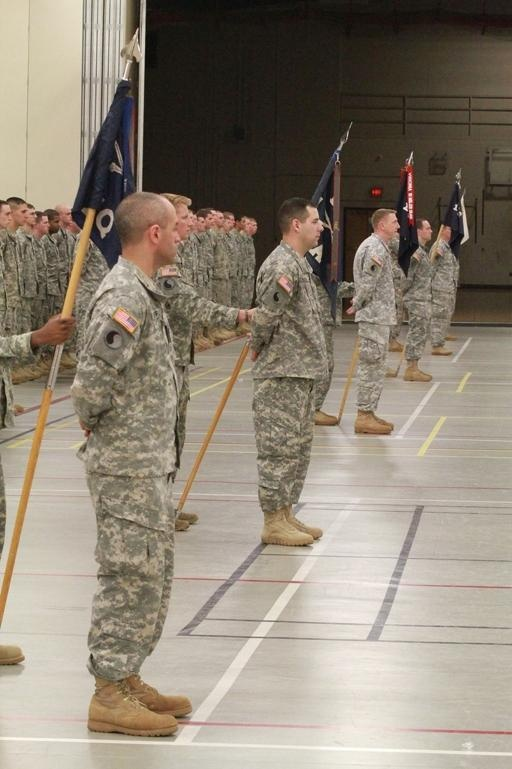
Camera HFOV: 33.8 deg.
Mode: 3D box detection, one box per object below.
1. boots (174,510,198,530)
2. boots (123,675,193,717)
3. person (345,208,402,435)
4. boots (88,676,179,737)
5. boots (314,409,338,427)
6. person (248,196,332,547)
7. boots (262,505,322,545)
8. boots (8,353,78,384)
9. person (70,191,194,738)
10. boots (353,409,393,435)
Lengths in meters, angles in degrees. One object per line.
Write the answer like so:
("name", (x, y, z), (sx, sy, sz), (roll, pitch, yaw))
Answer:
("boots", (-0.439, 0.843, 5.239), (0.064, 0.073, 0.187), (0, 4, 11))
("boots", (-0.272, 0.886, 2.401), (0.274, 0.098, 0.075), (4, 3, -10))
("person", (1.178, -0.645, 8.581), (0.481, 2.348, 0.645), (1, 2, 5))
("boots", (-0.281, 0.886, 2.351), (0.328, 0.175, 0.108), (1, -6, 0))
("boots", (0.774, 0.386, 9.421), (0.343, 0.133, 0.114), (0, 5, 8))
("person", (0.168, -0.071, 4.711), (0.414, 1.957, 0.524), (1, 2, 22))
("boots", (0.190, 0.792, 4.804), (0.243, 0.157, 0.271), (-3, -2, 8))
("boots", (-2.091, -0.130, 8.277), (0.745, 0.260, 0.861), (-4, -2, -2))
("person", (-0.344, 0.197, 2.359), (0.316, 1.514, 0.343), (0, 2, -1))
("boots", (1.216, 0.408, 8.754), (0.300, 0.192, 0.339), (0, 1, 5))
